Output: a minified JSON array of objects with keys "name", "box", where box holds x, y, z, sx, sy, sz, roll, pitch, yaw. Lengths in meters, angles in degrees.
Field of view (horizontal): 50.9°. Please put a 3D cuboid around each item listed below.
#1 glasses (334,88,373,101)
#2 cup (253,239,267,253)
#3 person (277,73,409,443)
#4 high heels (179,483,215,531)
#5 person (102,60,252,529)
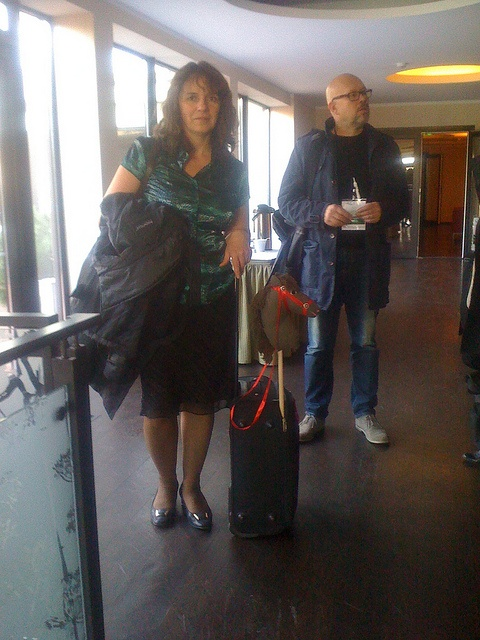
[{"name":"glasses","box":[0.456,-0.923,2.099,0.135,0.054,0.057,2,9,17]},{"name":"cup","box":[0.188,-0.629,4.346,0.092,0.114,0.124,-3,-5,4]},{"name":"person","box":[0.457,-0.249,2.250,0.591,1.607,0.394,1,8,14]},{"name":"high heels","box":[-0.142,0.612,1.692,0.060,0.062,0.186,8,11,-26]},{"name":"person","box":[-0.162,-0.030,1.531,0.402,1.421,0.318,-1,8,-3]}]
